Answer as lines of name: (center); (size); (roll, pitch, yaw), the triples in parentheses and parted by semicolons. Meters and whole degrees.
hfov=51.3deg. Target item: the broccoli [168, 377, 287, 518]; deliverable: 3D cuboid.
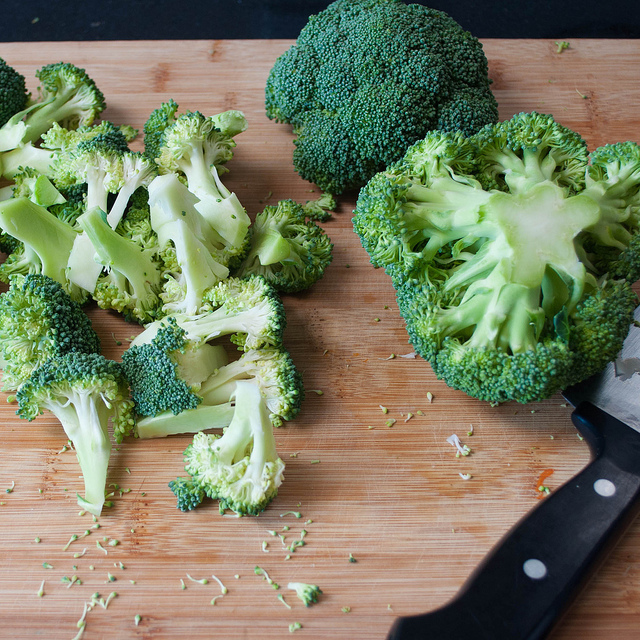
broccoli: (-0.227, 0.377, 2.111); (0.369, 0.233, 0.386); (26, 81, -3)

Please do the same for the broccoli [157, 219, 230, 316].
broccoli: (-0.415, -0.181, 2.214); (0.259, 0.282, 0.101); (-5, 20, 4)

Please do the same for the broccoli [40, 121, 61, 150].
broccoli: (-0.944, -0.667, 2.410); (0.064, 0.101, 0.100); (12, 41, -5)

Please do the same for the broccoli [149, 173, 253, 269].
broccoli: (-0.422, -0.313, 2.190); (0.100, 0.371, 0.252); (-3, 52, 49)

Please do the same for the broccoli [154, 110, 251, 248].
broccoli: (-0.394, -0.498, 2.294); (0.285, 0.225, 0.425); (-19, 56, 5)
